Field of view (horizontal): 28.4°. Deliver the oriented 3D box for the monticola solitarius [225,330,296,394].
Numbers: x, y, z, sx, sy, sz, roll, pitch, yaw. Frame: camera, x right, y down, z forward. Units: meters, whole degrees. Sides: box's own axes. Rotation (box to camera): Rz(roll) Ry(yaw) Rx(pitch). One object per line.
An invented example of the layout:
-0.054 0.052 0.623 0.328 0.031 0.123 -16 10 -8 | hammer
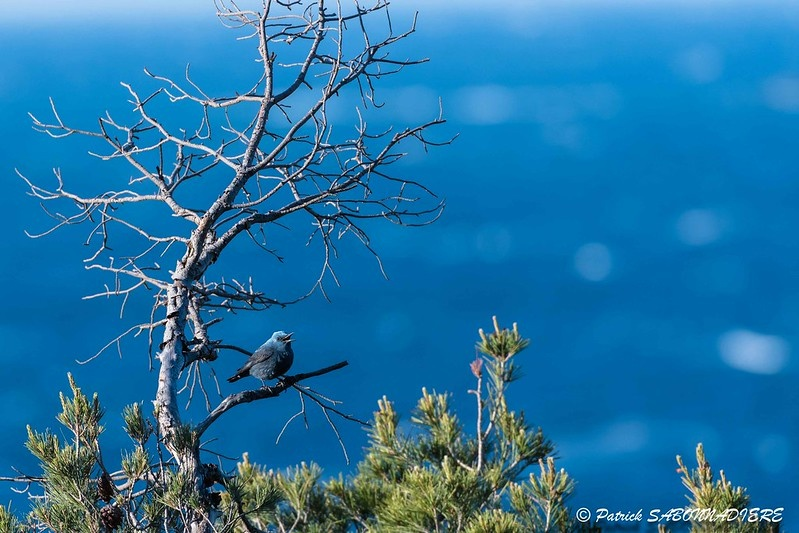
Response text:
-0.902 0.624 10.819 0.539 0.376 0.273 -3 -1 27 | monticola solitarius
